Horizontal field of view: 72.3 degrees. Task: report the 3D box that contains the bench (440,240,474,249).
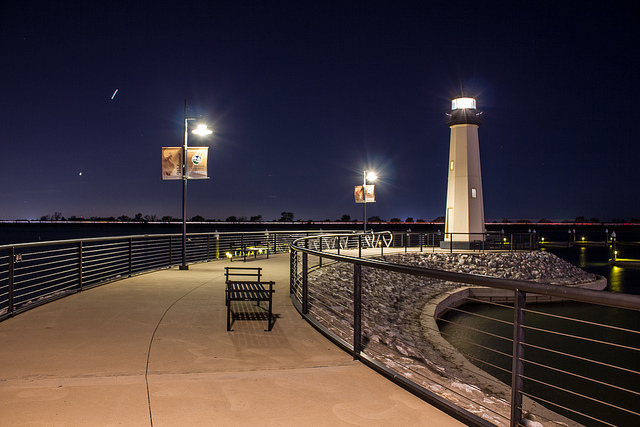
[{"bbox_3d":[10.333,2.333,33.402,2.370,0.679,1.196,-1,1,17],"label":"bench"}]
